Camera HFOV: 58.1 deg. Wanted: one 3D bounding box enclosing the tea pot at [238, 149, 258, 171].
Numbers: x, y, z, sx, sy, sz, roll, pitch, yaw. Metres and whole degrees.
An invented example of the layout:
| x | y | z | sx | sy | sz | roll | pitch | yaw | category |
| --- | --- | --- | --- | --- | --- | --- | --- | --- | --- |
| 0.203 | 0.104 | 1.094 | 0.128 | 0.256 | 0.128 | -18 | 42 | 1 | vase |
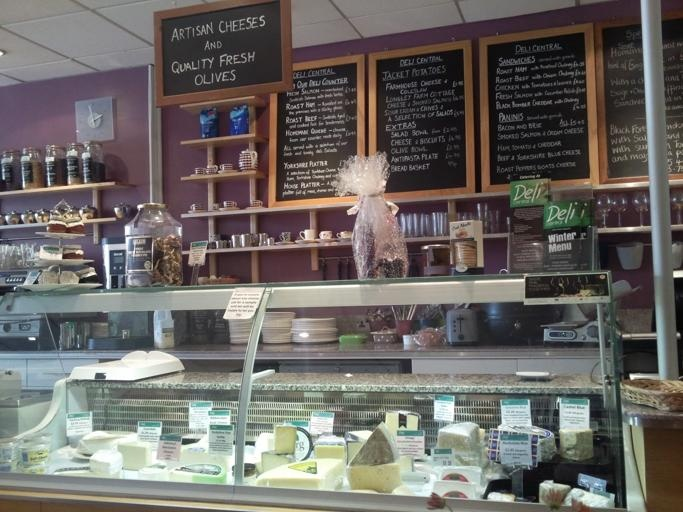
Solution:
| x | y | z | sx | sy | sz | roll | pitch | yaw | category |
| --- | --- | --- | --- | --- | --- | --- | --- | --- | --- |
| -0.696 | -0.743 | 4.815 | 0.188 | 0.147 | 0.132 | 1 | -1 | -1 | tea pot |

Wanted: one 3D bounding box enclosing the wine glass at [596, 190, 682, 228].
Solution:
| x | y | z | sx | sy | sz | roll | pitch | yaw | category |
| --- | --- | --- | --- | --- | --- | --- | --- | --- | --- |
| 1.736 | -0.271 | 3.597 | 0.355 | 0.141 | 0.093 | -1 | -6 | 27 | wine glass |

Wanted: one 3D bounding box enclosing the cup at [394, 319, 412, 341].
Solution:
| x | y | z | sx | sy | sz | roll | pitch | yaw | category |
| --- | --- | --- | --- | --- | --- | --- | --- | --- | --- |
| 0.306 | 0.358 | 3.016 | 0.123 | 0.120 | 0.116 | 0 | -7 | 0 | cup |

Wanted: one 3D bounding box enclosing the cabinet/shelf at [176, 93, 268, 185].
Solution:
| x | y | z | sx | sy | sz | roll | pitch | yaw | category |
| --- | --- | --- | --- | --- | --- | --- | --- | --- | --- |
| -0.880 | -0.892 | 4.747 | 0.783 | 0.599 | 0.244 | -3 | -8 | 25 | cabinet/shelf |

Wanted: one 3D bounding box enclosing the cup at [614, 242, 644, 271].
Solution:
| x | y | z | sx | sy | sz | roll | pitch | yaw | category |
| --- | --- | --- | --- | --- | --- | --- | --- | --- | --- |
| 1.927 | 0.001 | 4.113 | 0.187 | 0.165 | 0.186 | -4 | -4 | 0 | cup |

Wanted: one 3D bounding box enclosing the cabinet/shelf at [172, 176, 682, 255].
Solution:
| x | y | z | sx | sy | sz | roll | pitch | yaw | category |
| --- | --- | --- | --- | --- | --- | --- | --- | --- | --- |
| 0.679 | -0.268 | 4.385 | 3.188 | 0.353 | 0.404 | -2 | -2 | 16 | cabinet/shelf |

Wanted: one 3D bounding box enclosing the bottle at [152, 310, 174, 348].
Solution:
| x | y | z | sx | sy | sz | roll | pitch | yaw | category |
| --- | --- | --- | --- | --- | --- | --- | --- | --- | --- |
| -0.702 | 0.290 | 2.447 | 0.084 | 0.160 | 0.237 | -1 | -2 | -17 | bottle |
